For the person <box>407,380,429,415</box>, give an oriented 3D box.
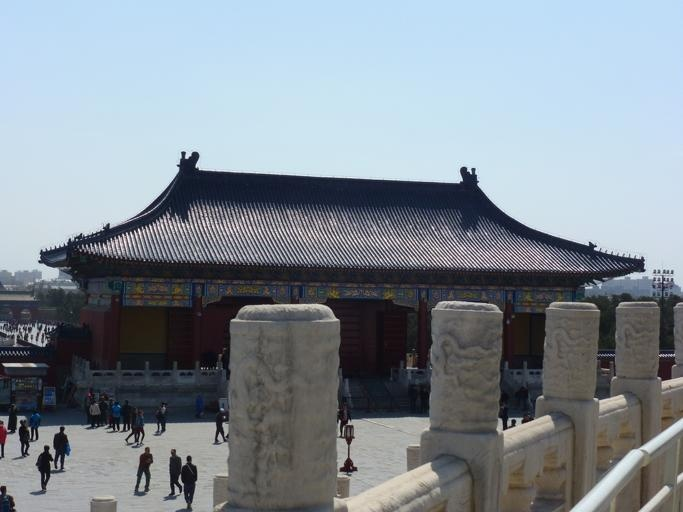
[{"bbox_3d":[2.572,4.789,54.406,0.827,1.079,0.803,0,3,-4],"label":"person"}]
